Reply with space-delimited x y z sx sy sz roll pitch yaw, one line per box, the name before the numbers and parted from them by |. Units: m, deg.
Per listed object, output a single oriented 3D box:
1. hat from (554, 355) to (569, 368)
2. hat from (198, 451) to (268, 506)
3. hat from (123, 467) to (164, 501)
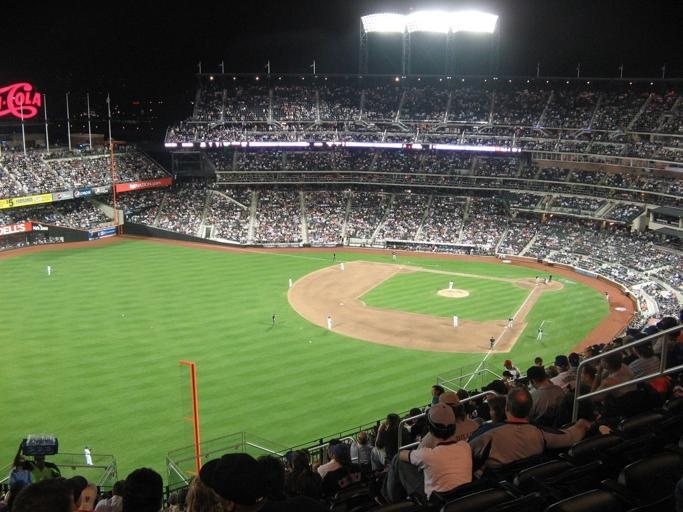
hat | 6.046 2.820 17.561 0.369 0.203 0.467 4 10 27
hat | -1.663 3.331 9.755 1.004 0.714 0.374 6 13 14
hat | -3.405 3.871 10.969 0.620 0.502 0.536 -1 13 -17
